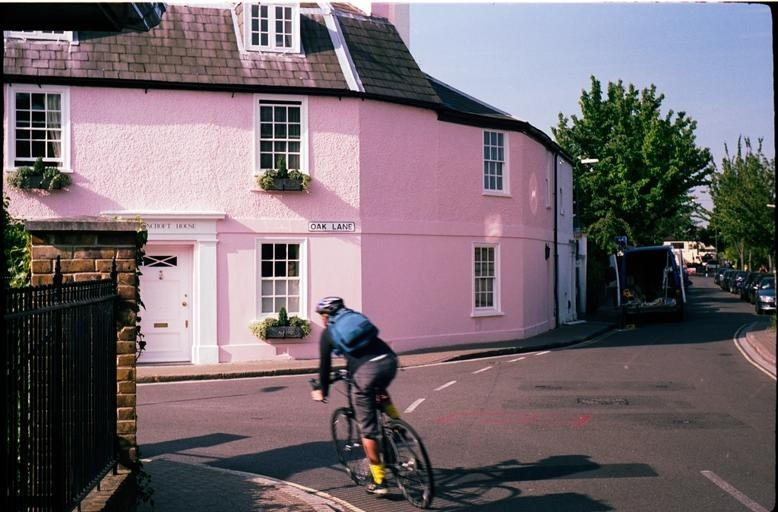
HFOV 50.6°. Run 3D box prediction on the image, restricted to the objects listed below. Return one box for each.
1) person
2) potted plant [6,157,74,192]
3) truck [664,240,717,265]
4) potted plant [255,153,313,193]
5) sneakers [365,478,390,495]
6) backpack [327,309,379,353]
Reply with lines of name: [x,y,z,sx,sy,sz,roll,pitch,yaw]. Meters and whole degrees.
person: [-0.411,1.801,10.595,1.049,2.586,0.416,-3,-2,-6]
potted plant: [-8.718,-1.937,20.168,1.130,0.616,0.915,1,-2,-11]
truck: [31.970,-0.524,85.908,4.470,2.244,3.270,-1,-1,28]
potted plant: [-2.887,-2.007,21.726,1.238,0.941,0.844,0,-4,-16]
sneakers: [-0.194,3.008,10.709,0.319,0.227,0.169,4,-4,14]
backpack: [-0.490,0.946,10.562,0.622,0.598,0.283,-3,-3,-4]
